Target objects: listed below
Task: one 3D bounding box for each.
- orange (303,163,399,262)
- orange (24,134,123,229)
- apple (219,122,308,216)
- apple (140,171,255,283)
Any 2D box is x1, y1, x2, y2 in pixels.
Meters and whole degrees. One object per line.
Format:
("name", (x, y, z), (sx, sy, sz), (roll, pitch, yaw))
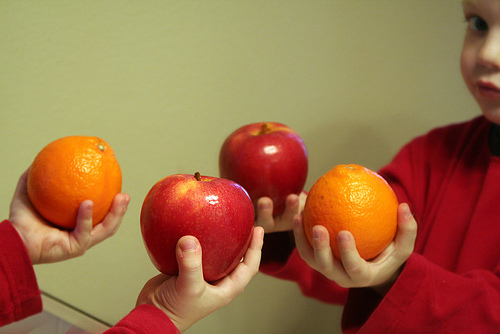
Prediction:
("orange", (0.335, 0.143, 1.197), (0.270, 0.288, 0.283), (-3, 1, -2))
("orange", (-0.501, 0.040, 1.257), (0.245, 0.290, 0.241), (6, 23, -26))
("apple", (0.017, -0.010, 1.415), (0.265, 0.297, 0.271), (-1, 12, -7))
("apple", (-0.143, 0.160, 1.173), (0.289, 0.310, 0.276), (1, 3, -30))
